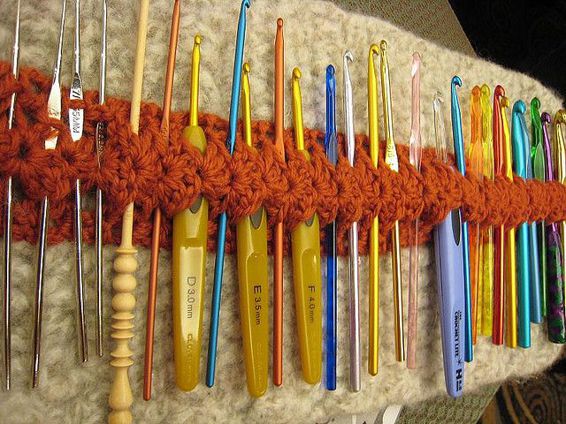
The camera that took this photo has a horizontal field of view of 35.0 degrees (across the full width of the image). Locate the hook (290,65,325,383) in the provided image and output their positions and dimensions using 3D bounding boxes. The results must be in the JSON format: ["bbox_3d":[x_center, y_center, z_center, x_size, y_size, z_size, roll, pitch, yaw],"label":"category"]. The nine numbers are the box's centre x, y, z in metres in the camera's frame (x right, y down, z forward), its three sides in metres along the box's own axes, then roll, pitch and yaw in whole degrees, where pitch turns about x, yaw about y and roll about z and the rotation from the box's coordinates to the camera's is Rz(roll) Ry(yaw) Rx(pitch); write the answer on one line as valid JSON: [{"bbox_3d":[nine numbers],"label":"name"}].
[{"bbox_3d":[0.029,0.015,1.340,0.039,0.044,0.474,-2,88,-17],"label":"hook"}]
